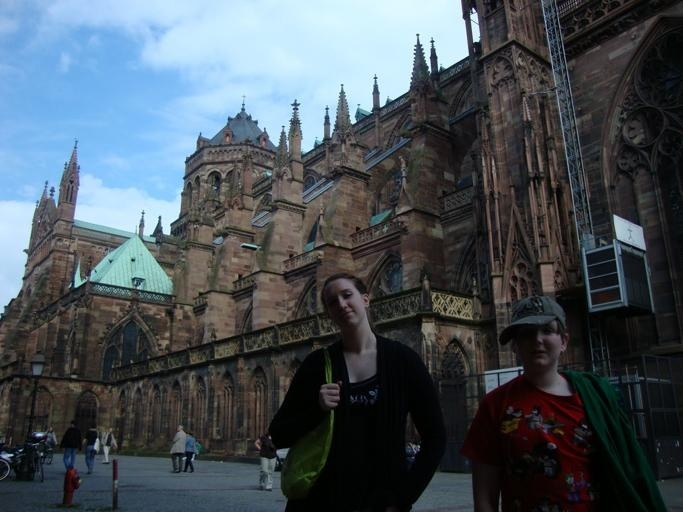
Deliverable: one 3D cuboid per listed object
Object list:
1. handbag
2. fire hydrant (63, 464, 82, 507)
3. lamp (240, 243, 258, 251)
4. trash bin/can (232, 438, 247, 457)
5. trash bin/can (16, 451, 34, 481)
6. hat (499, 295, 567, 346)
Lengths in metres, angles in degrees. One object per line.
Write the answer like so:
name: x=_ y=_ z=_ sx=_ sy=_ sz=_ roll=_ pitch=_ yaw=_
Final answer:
handbag: x=-0.217 y=1.166 z=3.205 sx=0.168 sy=0.483 sz=0.377 roll=14 pitch=-23 yaw=-41
fire hydrant: x=-4.839 y=4.150 z=9.866 sx=0.249 sy=0.600 sz=0.523 roll=6 pitch=-19 yaw=-25
lamp: x=-5.896 y=-0.591 z=34.894 sx=0.357 sy=0.287 sz=1.353 roll=24 pitch=12 yaw=39
trash bin/can: x=-4.344 y=8.303 z=23.780 sx=0.684 sy=0.959 sz=0.714 roll=2 pitch=-11 yaw=-14
trash bin/can: x=-8.582 y=5.679 z=14.969 sx=0.429 sy=0.828 sz=0.847 roll=8 pitch=-20 yaw=-29
hat: x=1.235 y=0.375 z=3.432 sx=0.374 sy=0.226 sz=0.280 roll=14 pitch=-29 yaw=-40
